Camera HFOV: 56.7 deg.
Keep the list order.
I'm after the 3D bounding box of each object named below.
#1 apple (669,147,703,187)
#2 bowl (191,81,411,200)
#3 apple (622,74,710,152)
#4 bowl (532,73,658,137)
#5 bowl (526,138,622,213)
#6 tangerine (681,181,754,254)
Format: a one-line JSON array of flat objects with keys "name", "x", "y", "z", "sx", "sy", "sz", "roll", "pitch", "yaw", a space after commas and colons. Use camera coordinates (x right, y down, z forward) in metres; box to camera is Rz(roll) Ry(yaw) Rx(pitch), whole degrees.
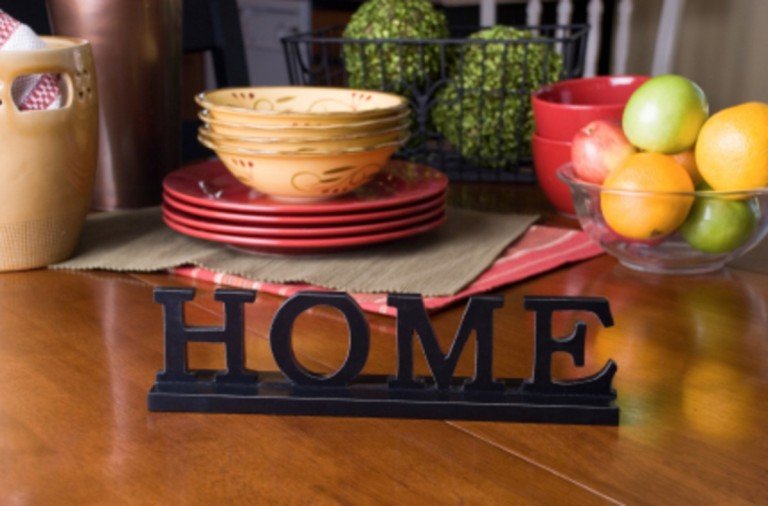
[{"name": "apple", "x": 0.356, "y": -0.101, "z": 0.835, "sx": 0.035, "sy": 0.043, "sz": 0.036, "roll": -8, "pitch": -4, "yaw": 29}, {"name": "bowl", "x": -0.097, "y": -0.142, "z": 0.900, "sx": 0.259, "sy": 0.121, "sz": 0.216, "roll": 6, "pitch": 20, "yaw": 17}, {"name": "apple", "x": 0.330, "y": -0.164, "z": 0.843, "sx": 0.093, "sy": 0.086, "sz": 0.064, "roll": 7, "pitch": 21, "yaw": 20}, {"name": "bowl", "x": 0.297, "y": -0.216, "z": 1.015, "sx": 0.127, "sy": 0.054, "sz": 0.120, "roll": -3, "pitch": 19, "yaw": 1}, {"name": "bowl", "x": 0.266, "y": -0.110, "z": 0.983, "sx": 0.084, "sy": 0.090, "sz": 0.094, "roll": -5, "pitch": 14, "yaw": -1}, {"name": "tangerine", "x": 0.370, "y": -0.042, "z": 0.807, "sx": 0.069, "sy": 0.068, "sz": 0.069, "roll": -4, "pitch": 9, "yaw": 10}]
